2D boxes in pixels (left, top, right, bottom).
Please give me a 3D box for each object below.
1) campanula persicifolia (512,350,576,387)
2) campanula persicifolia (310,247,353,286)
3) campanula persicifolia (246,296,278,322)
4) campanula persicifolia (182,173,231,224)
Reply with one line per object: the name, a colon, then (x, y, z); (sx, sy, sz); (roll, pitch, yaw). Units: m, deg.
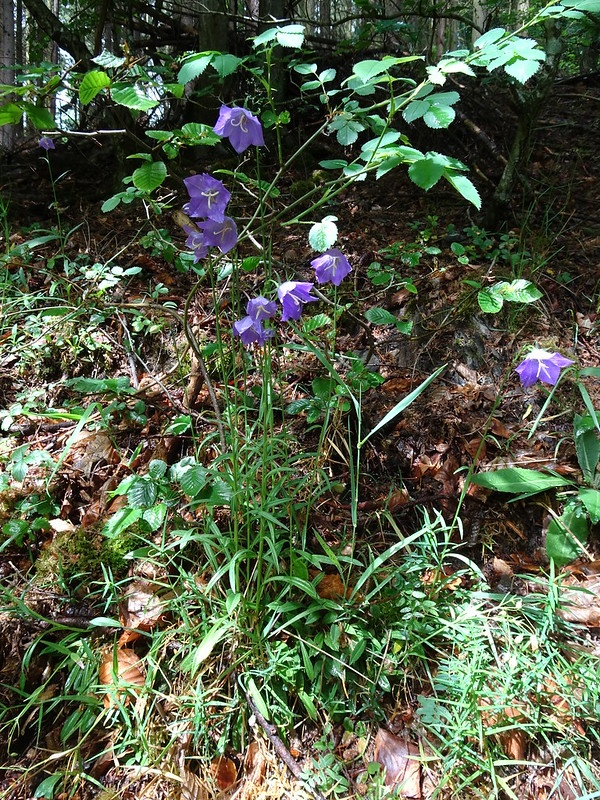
campanula persicifolia: (0.736, -0.106, 1.941); (0.134, 0.127, 0.173); (12, 33, 17)
campanula persicifolia: (0.079, -0.377, 1.820); (0.109, 0.114, 0.052); (31, 23, -31)
campanula persicifolia: (-0.099, -0.240, 1.701); (0.073, 0.071, 0.032); (28, 51, -26)
campanula persicifolia: (-0.249, -0.515, 1.631); (0.113, 0.136, 0.141); (-11, 33, -19)
